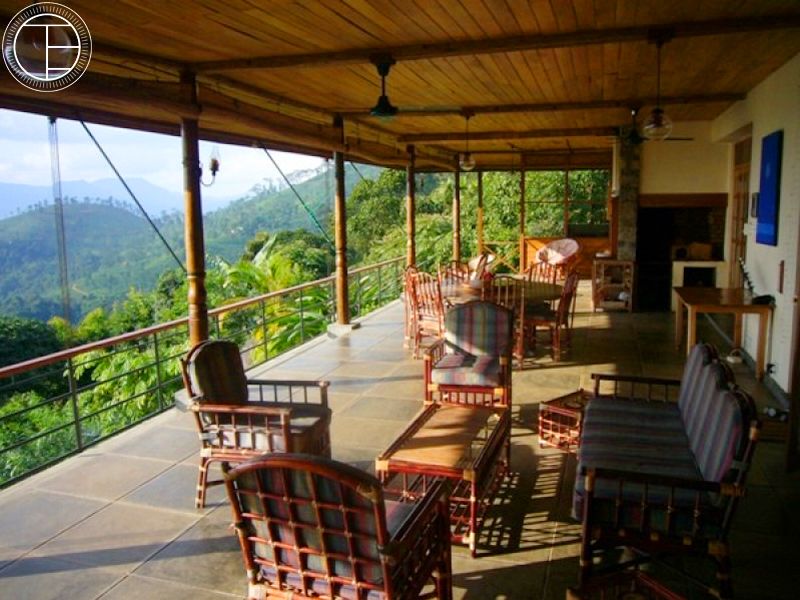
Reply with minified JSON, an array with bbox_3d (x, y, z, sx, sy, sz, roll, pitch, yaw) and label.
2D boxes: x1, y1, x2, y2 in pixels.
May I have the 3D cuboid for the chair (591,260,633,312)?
[{"bbox_3d":[3.560,-0.274,9.935,0.645,0.842,0.520,-2,7,18],"label":"chair"}]

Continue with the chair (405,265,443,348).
[{"bbox_3d":[0.286,0.120,7.308,0.487,0.956,0.522,5,9,17],"label":"chair"}]

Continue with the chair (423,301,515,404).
[{"bbox_3d":[0.609,0.423,4.942,0.752,0.884,0.705,5,8,17],"label":"chair"}]

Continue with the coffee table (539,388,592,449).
[{"bbox_3d":[1.233,0.940,4.562,0.437,0.426,0.711,-1,4,8],"label":"coffee table"}]

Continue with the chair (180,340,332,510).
[{"bbox_3d":[-1.040,0.759,4.444,1.190,1.343,1.075,1,4,17],"label":"chair"}]

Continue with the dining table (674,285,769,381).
[{"bbox_3d":[3.348,0.328,6.153,0.871,0.959,1.651,1,6,17],"label":"dining table"}]

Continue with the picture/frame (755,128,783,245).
[{"bbox_3d":[3.874,-1.167,6.236,0.186,1.172,0.858,0,7,28],"label":"picture/frame"}]
